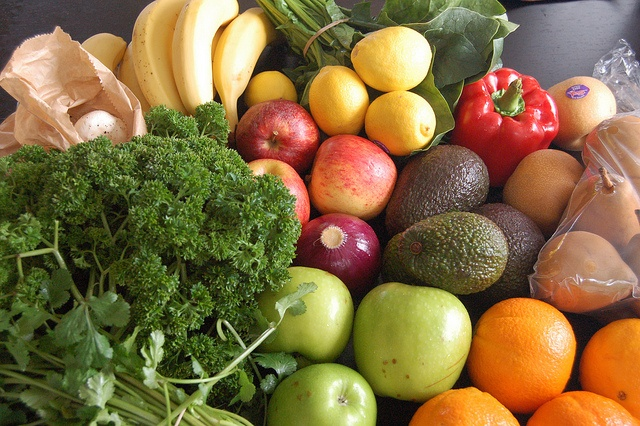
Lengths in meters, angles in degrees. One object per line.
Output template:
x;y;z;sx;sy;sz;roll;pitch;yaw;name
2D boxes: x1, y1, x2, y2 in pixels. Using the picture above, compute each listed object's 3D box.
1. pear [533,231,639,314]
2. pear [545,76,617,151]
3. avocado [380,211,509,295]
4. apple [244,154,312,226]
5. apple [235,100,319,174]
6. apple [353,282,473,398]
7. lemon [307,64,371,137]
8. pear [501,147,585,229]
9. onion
0.712;0.154;1.625;0.255;0.097;0.194;-8;67;-4;pear
0.803;-0.347;1.935;0.197;0.261;0.244;-11;107;-6;pear
0.340;0.122;1.610;0.316;0.177;0.210;-9;66;-4;avocado
-0.113;-0.100;1.738;0.126;0.194;0.171;-23;34;-35;apple
-0.144;-0.253;1.839;0.237;0.208;0.171;-21;29;-34;apple
0.236;0.333;1.544;0.303;0.150;0.274;11;67;5;apple
0.042;-0.347;1.856;0.180;0.242;0.186;-11;26;0;lemon
0.659;-0.087;1.737;0.172;0.152;0.255;-4;69;7;pear
0.054;0.064;1.733;0.186;0.291;0.186;-7;106;-11;onion
